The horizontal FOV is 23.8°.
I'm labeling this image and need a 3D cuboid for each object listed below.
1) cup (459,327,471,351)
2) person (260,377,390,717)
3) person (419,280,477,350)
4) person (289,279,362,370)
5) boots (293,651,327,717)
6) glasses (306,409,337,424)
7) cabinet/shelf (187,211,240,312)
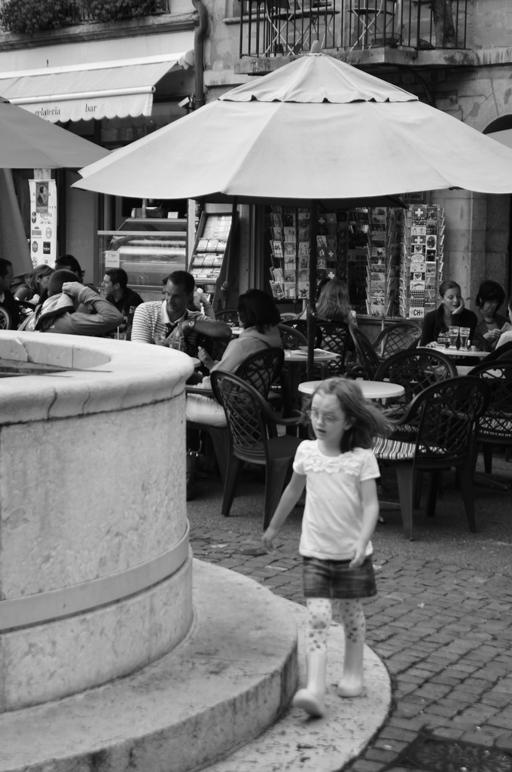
[{"bbox_3d":[1.597,-0.362,9.335,0.105,0.235,0.121,-1,-3,-1],"label":"cup"},{"bbox_3d":[0.220,0.522,3.920,0.394,1.080,0.414,1,5,7],"label":"person"},{"bbox_3d":[1.571,-0.411,9.844,0.366,0.900,0.500,1,0,4],"label":"person"},{"bbox_3d":[0.679,-0.544,10.478,0.622,1.116,0.643,0,9,-1],"label":"person"},{"bbox_3d":[0.180,0.941,3.803,0.133,0.239,0.068,-3,6,-36],"label":"boots"},{"bbox_3d":[0.212,0.100,3.874,0.038,0.050,0.111,-3,7,-35],"label":"glasses"},{"bbox_3d":[-0.546,-1.415,14.083,0.464,1.399,0.389,-5,-13,31],"label":"cabinet/shelf"}]
